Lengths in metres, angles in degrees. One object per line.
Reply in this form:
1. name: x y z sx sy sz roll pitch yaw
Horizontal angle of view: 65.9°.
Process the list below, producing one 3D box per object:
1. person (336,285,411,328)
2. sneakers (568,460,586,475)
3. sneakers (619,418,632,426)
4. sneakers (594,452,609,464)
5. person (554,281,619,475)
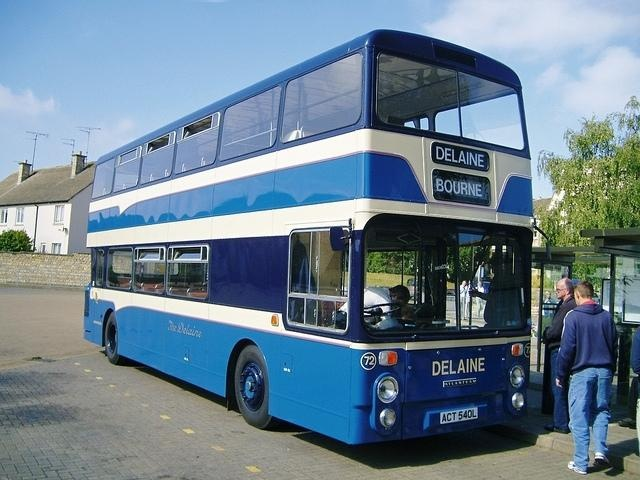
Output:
1. person: 0.785 0.829 6.667 0.543 0.319 0.734 6 -5 -36
2. sneakers: 3.376 3.025 6.552 0.088 0.129 0.255 0 11 -18
3. sneakers: 5.305 3.167 8.591 0.138 0.104 0.288 3 -3 33
4. sneakers: 3.690 2.887 6.488 0.099 0.127 0.271 -2 -4 25
5. person: 3.647 1.979 6.710 0.699 2.232 0.486 1 -3 14
